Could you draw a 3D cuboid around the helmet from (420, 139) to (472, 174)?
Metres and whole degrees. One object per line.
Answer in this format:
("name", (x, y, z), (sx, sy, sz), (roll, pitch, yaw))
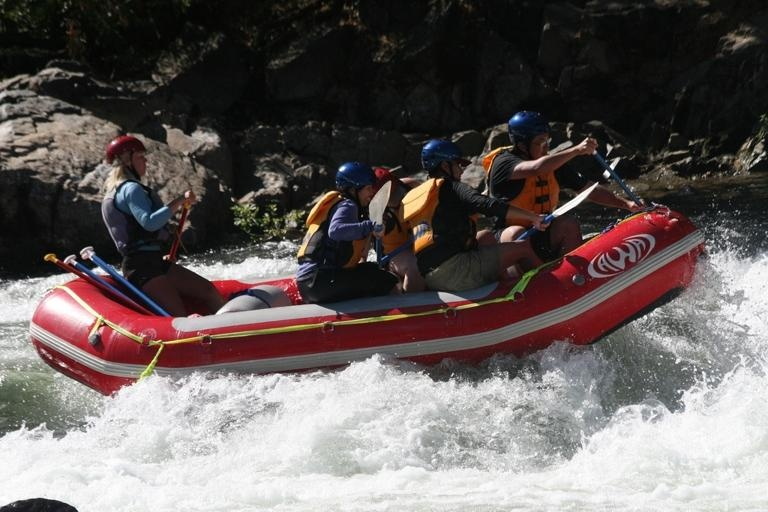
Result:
("helmet", (0.785, -1.335, 13.823), (0.721, 0.343, 0.471), (-8, 4, -14))

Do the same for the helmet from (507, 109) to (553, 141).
("helmet", (1.898, -1.731, 13.989), (0.510, 0.420, 0.362), (-18, 16, 14))

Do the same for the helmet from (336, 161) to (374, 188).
("helmet", (-0.379, -1.041, 13.558), (0.481, 0.311, 0.277), (-4, 34, 0))
